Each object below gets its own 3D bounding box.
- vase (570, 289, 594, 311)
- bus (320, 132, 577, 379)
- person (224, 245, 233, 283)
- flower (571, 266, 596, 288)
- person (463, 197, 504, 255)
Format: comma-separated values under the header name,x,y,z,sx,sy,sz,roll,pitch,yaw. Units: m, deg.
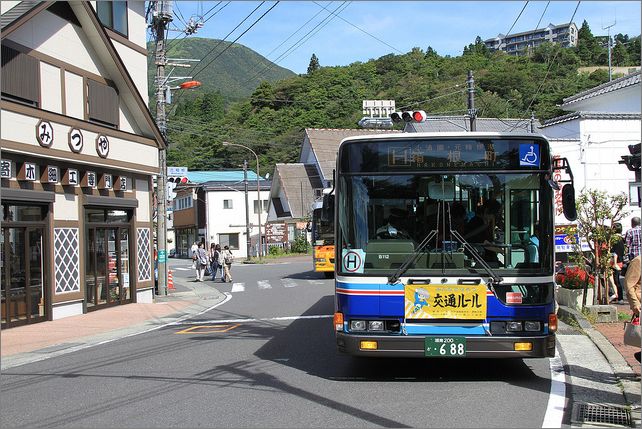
name,x,y,z,sx,sy,sz,roll,pitch,yaw
vase,6.754,2.152,14.722,0.706,0.682,0.483,1,-4,-27
bus,1.987,0.207,13.586,4.383,3.987,7.586,0,6,0
person,-4.879,2.632,30.077,0.446,1.838,1.573,-3,3,-10
flower,6.776,1.652,15.063,0.575,0.409,0.551,1,-6,19
person,2.792,0.124,9.909,0.665,0.798,0.212,-4,4,-23
